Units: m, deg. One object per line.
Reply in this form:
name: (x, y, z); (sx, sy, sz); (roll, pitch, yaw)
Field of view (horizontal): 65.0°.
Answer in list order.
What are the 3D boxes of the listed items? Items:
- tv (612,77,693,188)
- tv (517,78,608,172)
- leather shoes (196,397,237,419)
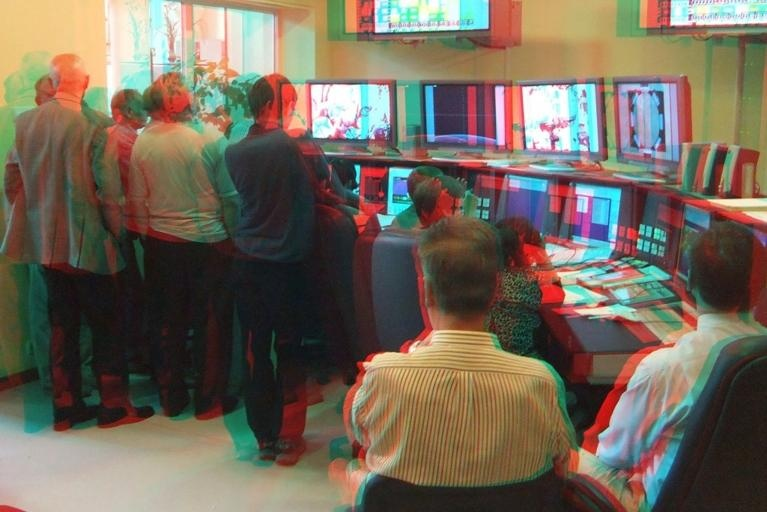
tv: (0.649, -0.314, 1.454); (0.033, 0.211, 0.174); (-29, 36, -31)
tv: (0.460, -0.353, 1.551); (0.186, 0.169, 0.020); (9, 26, 34)
leather shoes: (-0.525, 0.486, 1.915); (0.127, 0.054, 0.070); (-1, 0, -34)
